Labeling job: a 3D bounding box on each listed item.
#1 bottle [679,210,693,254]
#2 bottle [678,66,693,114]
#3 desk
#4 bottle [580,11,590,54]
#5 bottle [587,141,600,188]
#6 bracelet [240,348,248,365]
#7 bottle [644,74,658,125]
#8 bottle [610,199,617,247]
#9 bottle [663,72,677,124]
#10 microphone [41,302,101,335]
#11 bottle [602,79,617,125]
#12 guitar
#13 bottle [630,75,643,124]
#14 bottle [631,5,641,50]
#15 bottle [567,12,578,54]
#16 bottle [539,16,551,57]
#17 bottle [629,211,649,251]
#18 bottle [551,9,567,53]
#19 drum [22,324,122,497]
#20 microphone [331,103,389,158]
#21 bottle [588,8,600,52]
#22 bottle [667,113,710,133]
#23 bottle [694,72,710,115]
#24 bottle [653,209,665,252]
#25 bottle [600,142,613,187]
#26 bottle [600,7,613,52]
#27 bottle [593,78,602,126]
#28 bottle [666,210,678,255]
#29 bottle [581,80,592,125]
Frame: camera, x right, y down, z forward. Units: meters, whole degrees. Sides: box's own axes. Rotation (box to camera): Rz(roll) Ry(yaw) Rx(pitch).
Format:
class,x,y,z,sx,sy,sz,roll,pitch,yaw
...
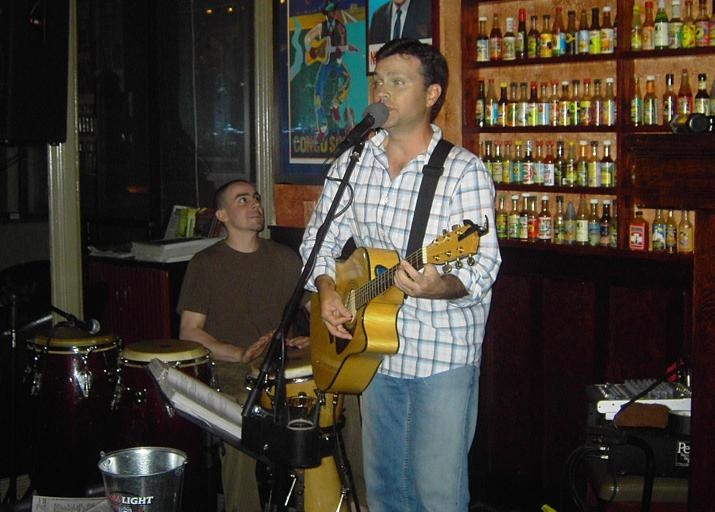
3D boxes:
class,x,y,z,sx,sy,sz,roll,pitch,yaw
bottle,1.677,-0.123,3.385,0.065,0.209,0.215,1,4,24
bottle,1.694,-0.860,3.416,0.072,0.234,0.137,1,3,26
desk,-1.482,0.268,4.574,0.619,0.669,0.379,3,24,10
bottle,1.207,-1.189,3.528,0.050,0.225,0.051,0,3,0
bottle,1.304,-0.505,3.631,0.062,0.256,0.168,1,3,20
bracelet,-0.567,0.513,3.330,0.017,0.061,0.046,-3,4,-40
bottle,1.526,-0.812,3.451,0.062,0.274,0.137,1,3,23
bottle,1.395,-0.177,3.593,0.043,0.250,0.228,1,4,22
bottle,1.627,-0.822,3.443,0.067,0.281,0.141,1,3,25
microphone,-1.764,0.384,4.066,0.076,0.090,0.365,-12,-34,28
bottle,1.354,-0.825,3.552,0.062,0.273,0.188,1,3,20
guitar,0.062,0.188,2.376,0.129,0.470,0.760,11,-27,-28
bottle,1.468,-0.814,3.474,0.052,0.271,0.156,1,3,22
bottle,1.450,-1.181,3.431,0.051,0.240,0.125,1,3,24
bottle,1.163,-1.202,3.590,0.054,0.237,0.130,1,3,17
bottle,1.034,-1.202,3.636,0.067,0.254,0.174,1,3,16
bottle,1.483,-0.139,3.488,0.096,0.210,0.229,1,4,25
bottle,1.103,-1.228,3.613,0.070,0.293,0.157,1,3,18
drum,-1.495,0.830,3.439,0.485,0.890,0.368,-1,3,-13
microphone,0.004,-0.445,2.328,0.202,0.185,0.123,3,4,40
bottle,1.267,-1.197,3.523,0.057,0.257,0.131,1,3,20
bottle,0.831,-0.332,1.653,0.063,0.055,0.031,5,-27,31
bottle,1.751,-0.827,3.355,0.079,0.223,0.166,1,4,26
bottle,1.582,-0.135,3.457,0.071,0.207,0.193,1,4,24
bottle,1.361,-0.497,3.593,0.068,0.256,0.191,1,3,20
bottle,1.324,-1.196,3.493,0.067,0.259,0.119,1,3,21
bottle,1.303,-0.834,3.588,0.054,0.272,0.201,1,3,20
bottle,1.622,-0.127,3.413,0.052,0.209,0.249,1,4,26
bottle,1.250,-0.840,3.619,0.055,0.272,0.202,1,3,20
